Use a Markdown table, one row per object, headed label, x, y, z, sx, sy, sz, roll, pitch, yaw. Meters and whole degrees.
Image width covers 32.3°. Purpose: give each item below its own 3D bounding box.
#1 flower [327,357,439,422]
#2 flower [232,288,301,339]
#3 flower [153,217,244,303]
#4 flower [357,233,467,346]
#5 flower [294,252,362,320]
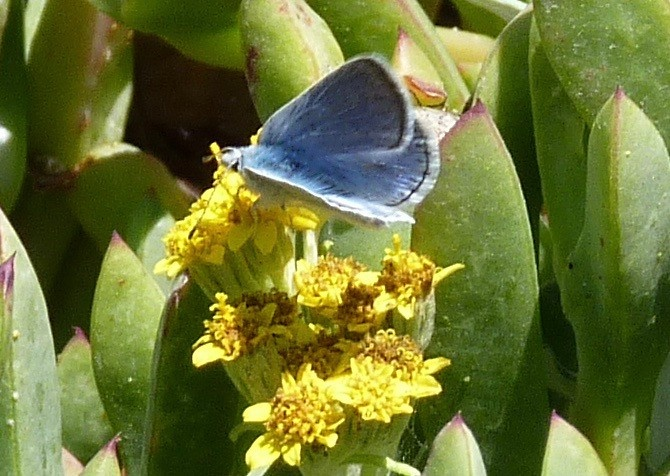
| label | x | y | z | sx | sy | sz | roll | pitch | yaw |
| --- | --- | --- | --- | --- | --- | --- | --- | --- | --- |
| flower | 0.048 | 0.141 | 1.101 | 0.074 | 0.029 | 0.072 | -24 | 48 | -32 |
| flower | -0.064 | 0.080 | 1.132 | 0.039 | 0.019 | 0.043 | -21 | 20 | 26 |
| flower | -0.133 | 0.016 | 1.215 | 0.079 | 0.067 | 0.079 | -47 | 62 | 16 |
| flower | 0.079 | 0.056 | 1.157 | 0.102 | 0.120 | 0.116 | -18 | 7 | 8 |
| flower | -0.010 | 0.047 | 1.138 | 0.054 | 0.041 | 0.059 | -1 | 39 | 0 |
